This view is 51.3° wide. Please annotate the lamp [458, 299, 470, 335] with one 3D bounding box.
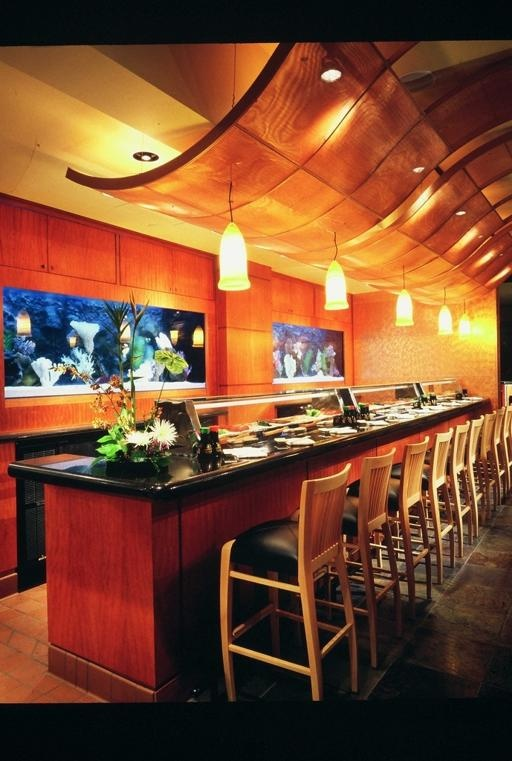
[{"bbox_3d":[2.893,-0.868,7.416,0.111,0.519,1.089,-1,3,23],"label":"lamp"}]
